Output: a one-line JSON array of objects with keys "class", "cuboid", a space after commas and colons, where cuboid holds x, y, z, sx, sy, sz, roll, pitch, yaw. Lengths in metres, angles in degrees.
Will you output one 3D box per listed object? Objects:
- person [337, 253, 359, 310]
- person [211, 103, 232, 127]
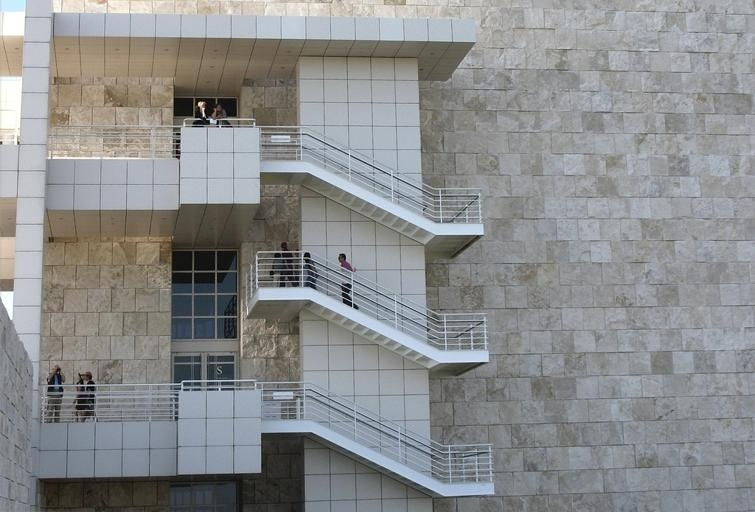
[{"class": "person", "cuboid": [-1.308, 1.227, 96.718, 0.661, 2.572, 1.044, -8, -15, 22]}, {"class": "person", "cuboid": [-7.167, -6.045, 99.337, 0.587, 0.455, 1.325, -16, 5, -18]}]
